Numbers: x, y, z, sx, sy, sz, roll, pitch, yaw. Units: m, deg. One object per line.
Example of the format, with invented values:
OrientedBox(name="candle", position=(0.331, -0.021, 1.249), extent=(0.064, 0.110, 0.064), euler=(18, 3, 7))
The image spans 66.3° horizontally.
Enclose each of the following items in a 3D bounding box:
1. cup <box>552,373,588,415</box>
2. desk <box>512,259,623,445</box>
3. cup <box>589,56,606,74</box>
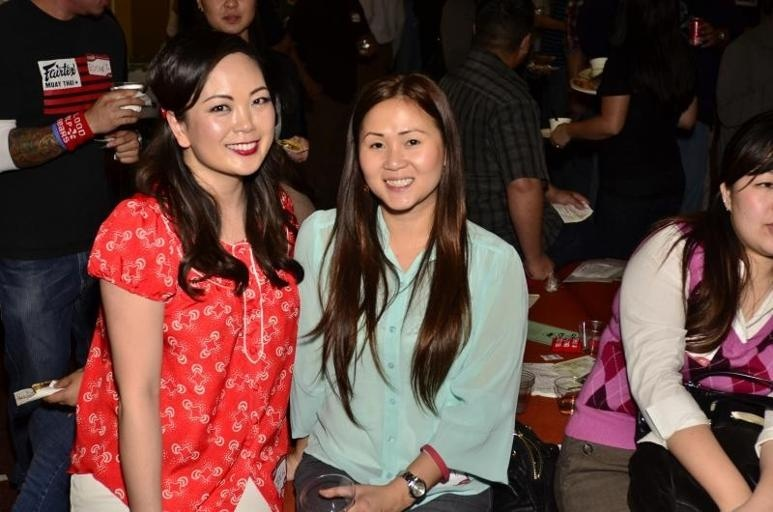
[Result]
OrientedBox(name="cup", position=(0.779, 0.592, 2.574), extent=(0.142, 0.122, 0.151), euler=(0, 9, 0))
OrientedBox(name="desk", position=(0.960, 0.668, 3.354), extent=(0.533, 0.276, 1.279), euler=(8, 42, 16))
OrientedBox(name="cup", position=(1.490, -1.337, 4.181), extent=(0.121, 0.118, 0.135), euler=(4, 11, 26))
